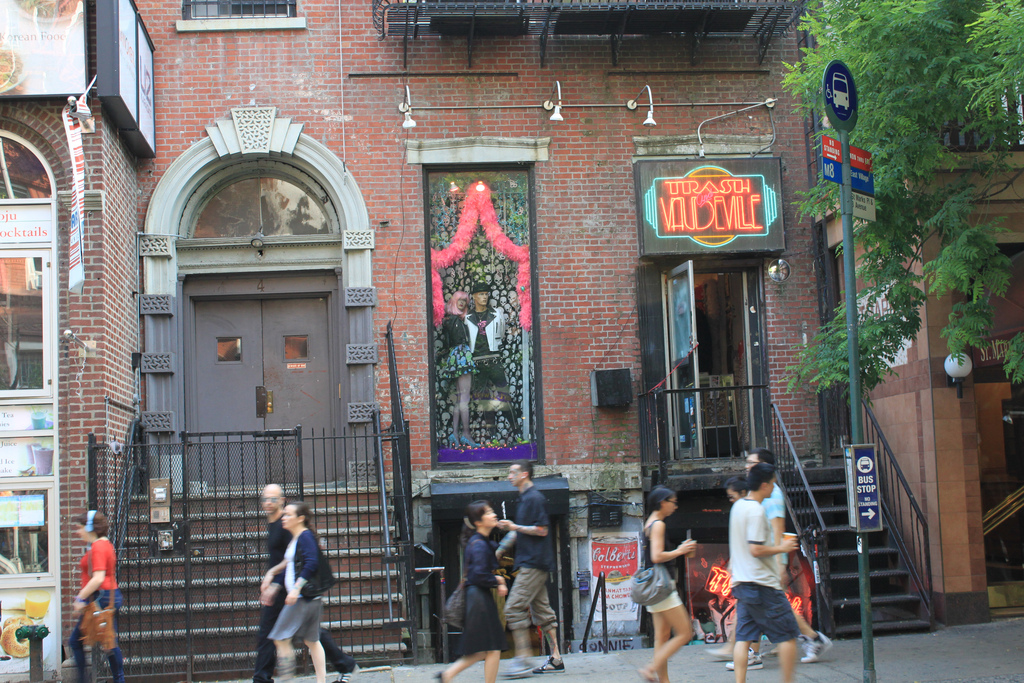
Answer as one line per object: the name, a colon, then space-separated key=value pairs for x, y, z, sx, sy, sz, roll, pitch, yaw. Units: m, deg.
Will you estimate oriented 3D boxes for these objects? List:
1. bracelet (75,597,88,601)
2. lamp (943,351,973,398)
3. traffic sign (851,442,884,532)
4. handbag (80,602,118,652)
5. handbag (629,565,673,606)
bracelet: x=-5.716 y=3.464 z=24.705 sx=0.092 sy=0.072 sz=0.096 roll=-1 pitch=-3 yaw=6
lamp: x=6.534 y=0.485 z=27.377 sx=0.423 sy=0.647 sz=0.633 roll=-5 pitch=-8 yaw=4
traffic sign: x=4.528 y=1.923 z=24.172 sx=0.365 sy=1.123 sz=0.286 roll=-6 pitch=-8 yaw=8
handbag: x=-5.490 y=3.844 z=24.757 sx=0.462 sy=0.627 sz=0.184 roll=4 pitch=-1 yaw=-32
handbag: x=1.790 y=3.186 z=24.121 sx=0.545 sy=0.507 sz=0.230 roll=-5 pitch=-8 yaw=4
